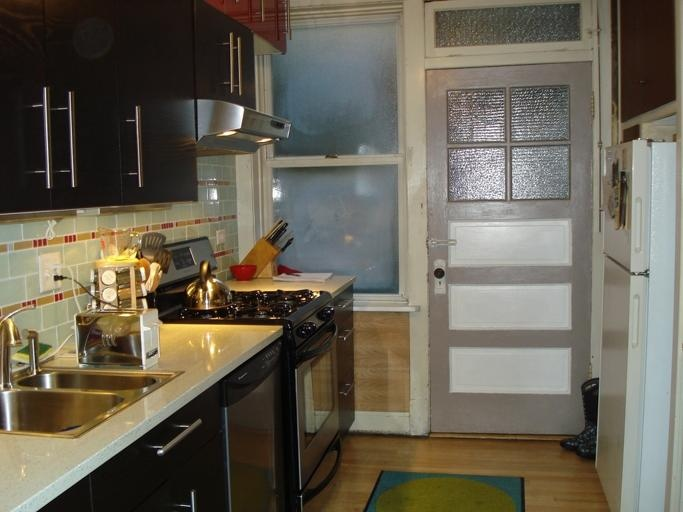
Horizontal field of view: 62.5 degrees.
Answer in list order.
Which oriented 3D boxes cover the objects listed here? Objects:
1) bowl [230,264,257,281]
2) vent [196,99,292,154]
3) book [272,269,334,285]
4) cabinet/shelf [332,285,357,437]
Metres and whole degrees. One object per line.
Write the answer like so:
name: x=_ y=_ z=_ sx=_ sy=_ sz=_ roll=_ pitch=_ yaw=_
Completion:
bowl: x=-0.617 y=0.107 z=3.530 sx=0.171 sy=0.098 sz=0.133 roll=-1 pitch=8 yaw=2
vent: x=-0.454 y=-0.606 z=2.651 sx=0.245 sy=0.222 sz=0.494 roll=1 pitch=9 yaw=21
book: x=-0.241 y=0.145 z=3.439 sx=0.352 sy=0.038 sz=0.189 roll=-2 pitch=8 yaw=1
cabinet/shelf: x=0.021 y=0.649 z=3.354 sx=0.206 sy=0.756 sz=0.239 roll=4 pitch=8 yaw=1
